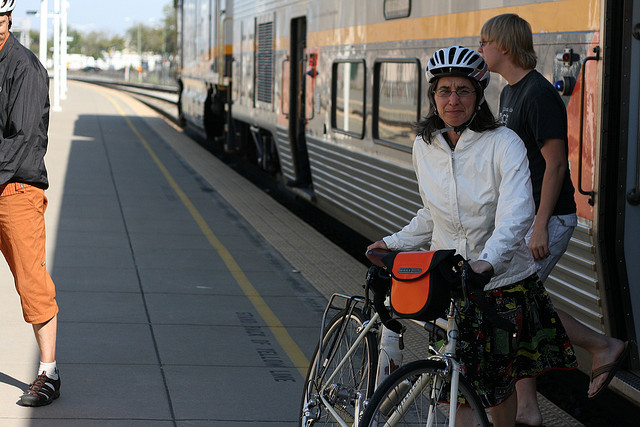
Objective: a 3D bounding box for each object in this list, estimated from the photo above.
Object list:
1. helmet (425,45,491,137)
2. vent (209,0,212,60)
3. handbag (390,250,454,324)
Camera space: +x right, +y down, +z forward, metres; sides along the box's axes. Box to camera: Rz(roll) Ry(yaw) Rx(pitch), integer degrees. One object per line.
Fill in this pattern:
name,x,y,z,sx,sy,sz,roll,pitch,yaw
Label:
helmet,0.718,-0.710,3.421,0.290,0.466,0.433,1,-28,10
vent,-2.933,-4.851,16.461,0.056,1.463,0.603,0,9,-12
handbag,0.464,0.364,3.079,0.307,0.370,0.177,-2,-29,29
